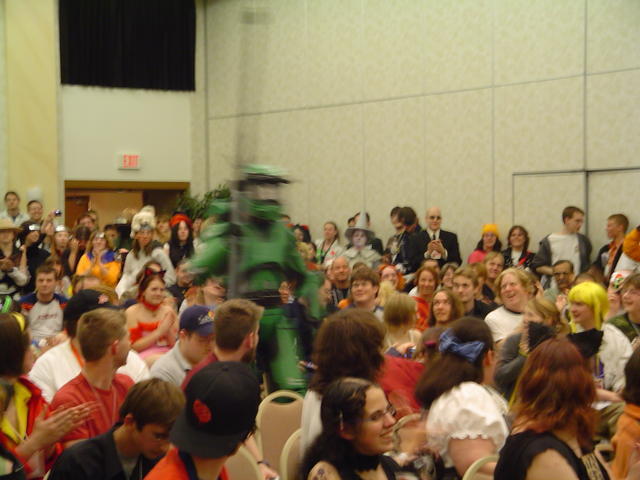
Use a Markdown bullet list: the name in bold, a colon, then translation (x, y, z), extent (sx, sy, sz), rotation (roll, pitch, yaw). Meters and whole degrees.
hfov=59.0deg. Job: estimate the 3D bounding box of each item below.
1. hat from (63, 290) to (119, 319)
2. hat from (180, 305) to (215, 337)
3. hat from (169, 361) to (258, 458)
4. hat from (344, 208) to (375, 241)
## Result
- **hat**: translation (-1.223, 0.345, 3.048), extent (0.220, 0.103, 0.154), rotation (-23, 16, -14)
- **hat**: translation (-0.639, 0.417, 2.964), extent (0.156, 0.097, 0.125), rotation (-3, 2, 18)
- **hat**: translation (-0.308, 0.511, 1.729), extent (0.186, 0.170, 0.289), rotation (23, 42, 15)
- **hat**: translation (0.160, -0.078, 2.360), extent (0.087, 0.109, 0.112), rotation (2, -36, 8)
